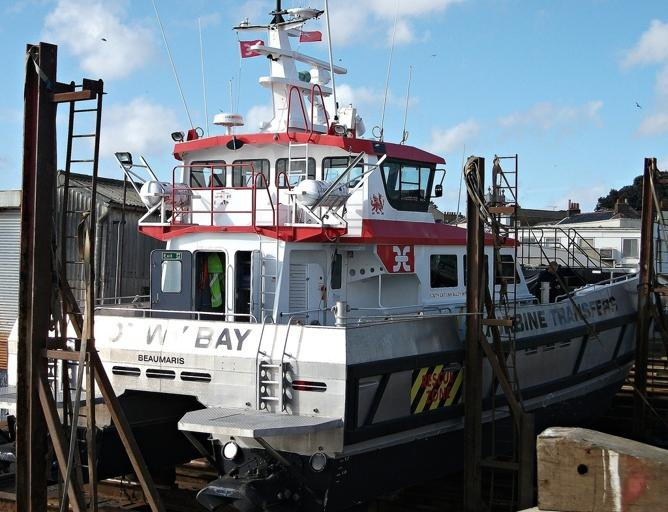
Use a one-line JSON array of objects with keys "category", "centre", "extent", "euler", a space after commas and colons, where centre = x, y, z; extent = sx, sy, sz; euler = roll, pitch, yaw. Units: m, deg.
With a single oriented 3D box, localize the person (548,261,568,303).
[{"category": "person", "centre": [4.192, 0.502, 19.952], "extent": [0.300, 1.111, 0.440], "euler": [-5, 13, 7]}]
